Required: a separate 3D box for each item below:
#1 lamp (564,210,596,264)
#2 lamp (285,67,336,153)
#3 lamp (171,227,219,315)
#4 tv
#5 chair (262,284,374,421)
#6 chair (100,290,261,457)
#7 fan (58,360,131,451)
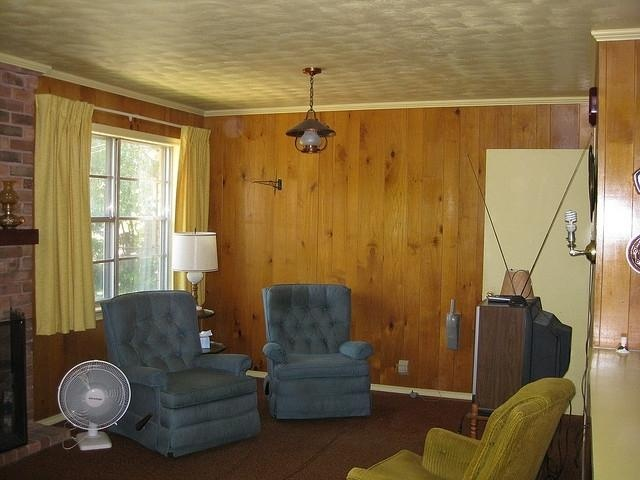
[{"bbox_3d":[1.735,-0.013,3.620,0.197,0.361,0.178,1,6,24],"label":"lamp"},{"bbox_3d":[-0.083,-1.105,4.599,0.426,0.684,0.453,3,7,11],"label":"lamp"},{"bbox_3d":[-1.239,0.342,5.352,0.586,0.811,0.584,-1,4,-27],"label":"lamp"},{"bbox_3d":[1.733,0.954,4.529,0.656,0.918,0.880,2,6,29],"label":"tv"},{"bbox_3d":[-0.086,1.025,5.179,0.935,1.183,1.049,0,-4,-12],"label":"chair"},{"bbox_3d":[-1.156,1.054,4.507,0.994,1.096,1.137,1,1,-41],"label":"chair"},{"bbox_3d":[-1.728,1.244,4.155,0.500,0.624,0.326,1,-2,-25],"label":"fan"}]
